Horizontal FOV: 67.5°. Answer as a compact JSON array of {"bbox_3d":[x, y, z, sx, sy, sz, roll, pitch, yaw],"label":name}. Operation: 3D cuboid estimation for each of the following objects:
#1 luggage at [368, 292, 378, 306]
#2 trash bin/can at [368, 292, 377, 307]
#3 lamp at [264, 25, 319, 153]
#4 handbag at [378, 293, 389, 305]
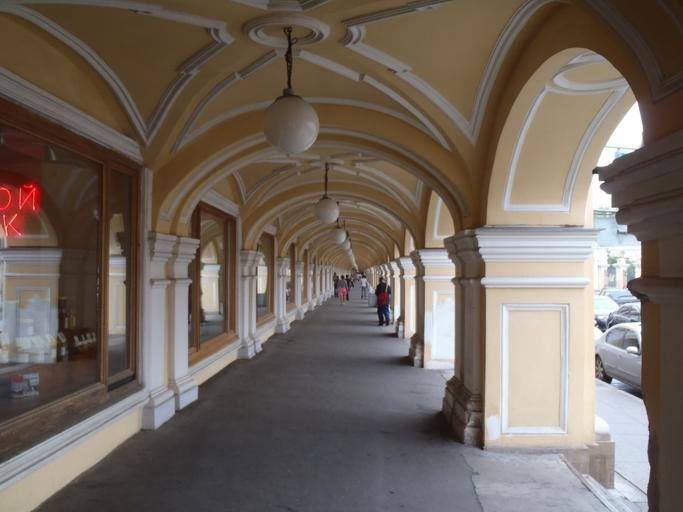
[{"bbox_3d":[1.329,1.907,22.103,0.467,0.807,0.724,0,-5,1],"label":"luggage"},{"bbox_3d":[1.339,1.925,22.083,0.421,0.942,0.623,1,-6,-2],"label":"trash bin/can"},{"bbox_3d":[-0.440,-1.478,4.700,0.459,1.144,0.917,0,1,-1],"label":"lamp"},{"bbox_3d":[1.187,1.234,14.874,0.253,0.397,0.332,9,11,34],"label":"handbag"}]
